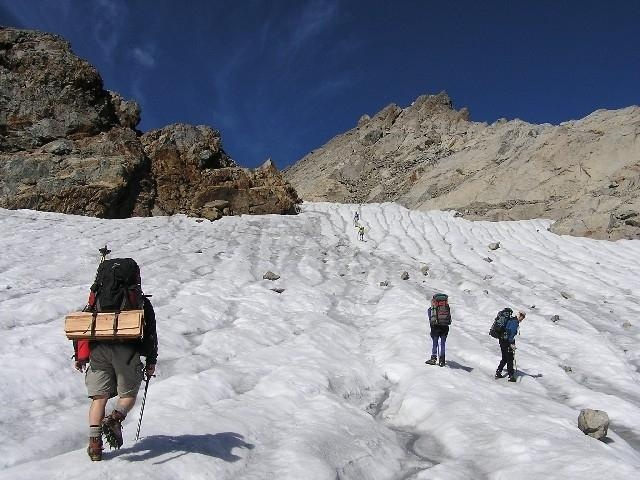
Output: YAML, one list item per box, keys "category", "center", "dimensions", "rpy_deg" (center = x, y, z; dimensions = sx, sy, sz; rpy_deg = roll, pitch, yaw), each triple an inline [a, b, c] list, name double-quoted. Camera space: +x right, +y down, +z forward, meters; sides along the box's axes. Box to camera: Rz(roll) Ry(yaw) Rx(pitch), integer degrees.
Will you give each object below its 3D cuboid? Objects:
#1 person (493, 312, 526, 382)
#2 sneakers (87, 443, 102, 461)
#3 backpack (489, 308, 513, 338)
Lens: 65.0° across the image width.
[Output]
- category: "person"
  center: [6.583, 3.724, 17.369]
  dimensions: [0.727, 2.431, 0.965]
  rpy_deg: [1, -7, -10]
- category: "sneakers"
  center: [-4.988, 4.765, 11.168]
  dimensions: [0.199, 0.184, 0.509]
  rpy_deg: [2, -4, -10]
- category: "backpack"
  center: [6.251, 2.907, 17.663]
  dimensions: [0.449, 1.057, 0.765]
  rpy_deg: [13, -15, 46]
